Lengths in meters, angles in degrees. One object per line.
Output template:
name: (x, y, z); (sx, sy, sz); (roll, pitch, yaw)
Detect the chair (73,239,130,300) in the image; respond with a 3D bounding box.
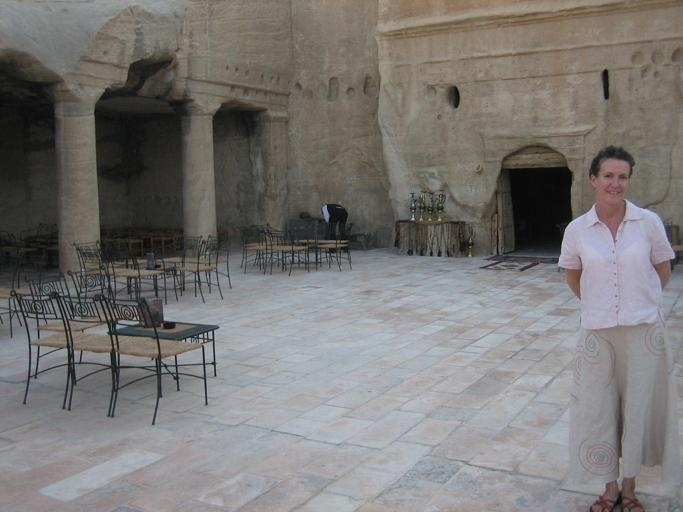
chair: (-4.710, 0.259, 12.005); (0.756, 1.030, 0.789); (-2, -1, 1)

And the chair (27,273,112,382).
chair: (-3.283, 0.907, 7.137); (0.759, 1.176, 0.785); (2, 5, 3)

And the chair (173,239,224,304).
chair: (-3.267, 0.178, 13.789); (0.768, 1.308, 0.861); (1, -3, 33)

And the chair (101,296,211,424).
chair: (-1.772, 0.888, 6.013); (0.840, 1.265, 0.996); (-3, 4, 14)

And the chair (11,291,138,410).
chair: (-2.969, 0.898, 6.725); (0.808, 1.326, 0.917); (1, 9, 27)
